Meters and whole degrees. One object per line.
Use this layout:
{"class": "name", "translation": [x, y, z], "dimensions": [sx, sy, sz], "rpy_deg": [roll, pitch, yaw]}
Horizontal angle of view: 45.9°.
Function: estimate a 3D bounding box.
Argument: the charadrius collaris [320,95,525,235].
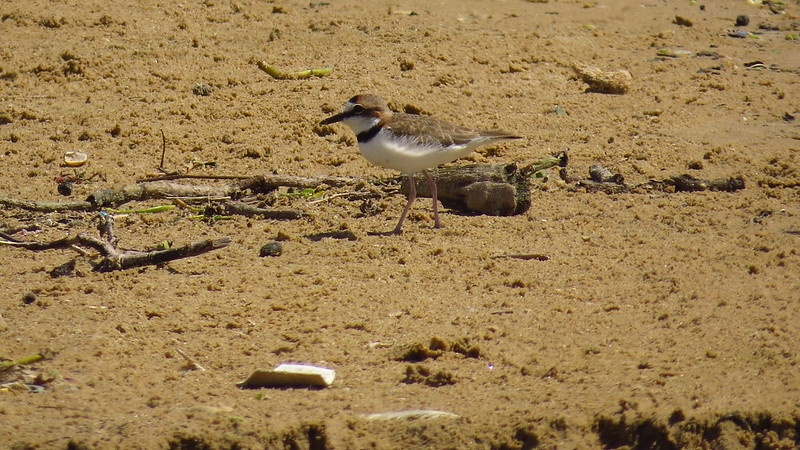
{"class": "charadrius collaris", "translation": [0.365, -0.784, 12.513], "dimensions": [3.023, 1.650, 1.017], "rpy_deg": [-4, 5, -33]}
